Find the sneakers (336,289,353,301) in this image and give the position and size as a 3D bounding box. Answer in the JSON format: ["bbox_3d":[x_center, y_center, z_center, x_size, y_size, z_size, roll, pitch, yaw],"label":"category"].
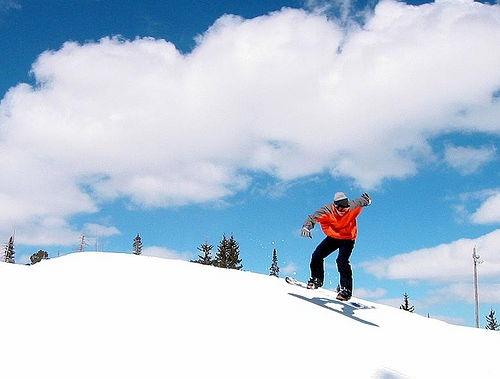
[{"bbox_3d":[1.905,2.168,11.825,0.258,0.227,0.242,12,3,7],"label":"sneakers"}]

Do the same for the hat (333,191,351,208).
[{"bbox_3d":[1.755,0.229,11.169,0.257,0.361,0.365,6,4,6],"label":"hat"}]

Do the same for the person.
[{"bbox_3d":[1.740,1.118,12.234,1.166,2.265,1.027,12,3,12],"label":"person"}]

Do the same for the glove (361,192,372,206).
[{"bbox_3d":[2.160,0.213,10.873,0.131,0.235,0.339,6,-13,17],"label":"glove"}]
